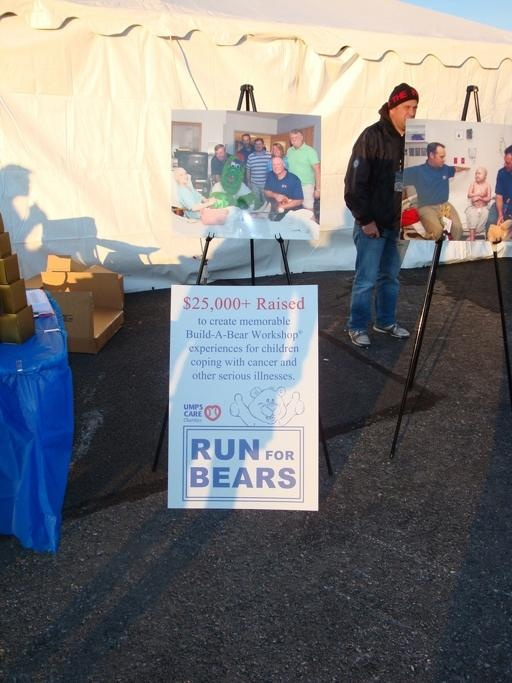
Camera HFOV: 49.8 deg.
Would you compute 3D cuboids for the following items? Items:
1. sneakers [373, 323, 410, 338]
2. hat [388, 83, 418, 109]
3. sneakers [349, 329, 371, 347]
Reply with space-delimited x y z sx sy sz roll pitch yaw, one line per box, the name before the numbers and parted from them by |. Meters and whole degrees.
sneakers | 1.044 -0.066 4.278 0.274 0.108 0.103 16 43 34
hat | 0.856 -1.482 3.346 0.136 0.146 0.181 -26 26 -13
sneakers | 0.767 -0.022 4.064 0.069 0.071 0.184 -9 17 -8
